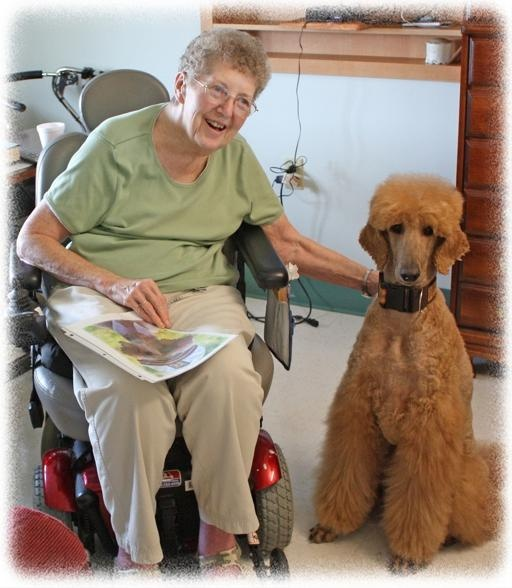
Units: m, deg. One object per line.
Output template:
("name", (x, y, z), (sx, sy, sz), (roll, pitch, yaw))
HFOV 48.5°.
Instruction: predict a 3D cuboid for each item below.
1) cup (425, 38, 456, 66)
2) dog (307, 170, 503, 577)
("cup", (0.769, -1.015, 2.381), (0.129, 0.084, 0.089), (4, 39, 11))
("dog", (0.384, 0.183, 1.353), (0.493, 0.920, 0.251), (1, 11, 3))
